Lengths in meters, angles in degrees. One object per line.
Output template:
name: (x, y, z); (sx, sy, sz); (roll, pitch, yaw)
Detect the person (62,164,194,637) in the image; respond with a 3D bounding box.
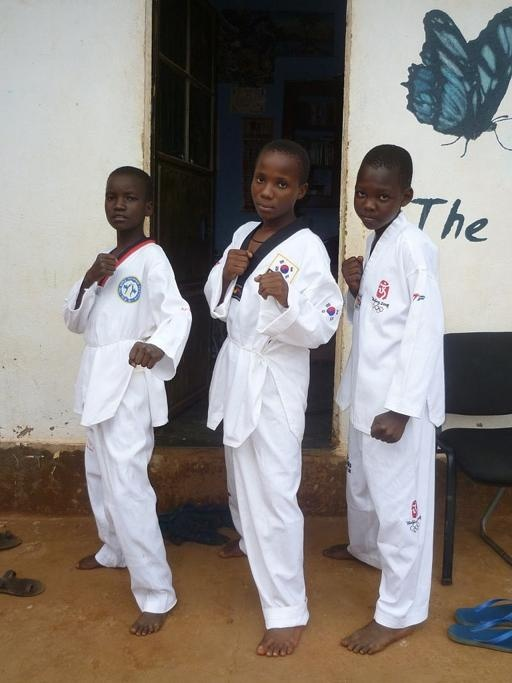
person: (-0.448, 0.186, 2.685); (0.420, 1.565, 0.600); (-2, 14, -13)

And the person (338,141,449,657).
person: (0.468, 0.173, 2.611); (0.375, 1.643, 0.630); (2, 14, 6)

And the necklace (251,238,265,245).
necklace: (0.007, -0.349, 2.657); (0.038, 0.008, 0.033); (4, -20, 8)

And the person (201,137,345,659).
person: (0.070, 0.159, 2.615); (0.445, 1.658, 0.652); (-2, 14, -10)
